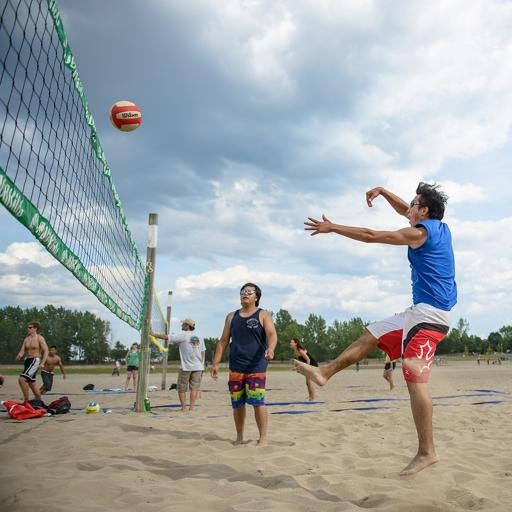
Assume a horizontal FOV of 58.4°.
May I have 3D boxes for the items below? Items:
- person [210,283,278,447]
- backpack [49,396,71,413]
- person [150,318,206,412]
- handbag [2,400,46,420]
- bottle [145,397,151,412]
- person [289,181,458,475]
[{"bbox_3d":[-0.085,1.027,4.425,0.813,1.540,0.405,-8,-14,34],"label":"person"},{"bbox_3d":[-2.801,2.139,6.534,0.238,0.117,0.292,5,3,12],"label":"backpack"},{"bbox_3d":[-1.165,1.734,7.261,0.677,1.493,2.287,1,-11,-7],"label":"person"},{"bbox_3d":[-3.055,2.047,6.120,0.523,0.207,0.519,-10,-14,40],"label":"handbag"},{"bbox_3d":[-1.658,2.240,6.947,0.085,0.195,0.429,2,-11,-12],"label":"bottle"},{"bbox_3d":[0.878,0.370,3.332,1.125,2.166,0.857,4,-16,16],"label":"person"}]
